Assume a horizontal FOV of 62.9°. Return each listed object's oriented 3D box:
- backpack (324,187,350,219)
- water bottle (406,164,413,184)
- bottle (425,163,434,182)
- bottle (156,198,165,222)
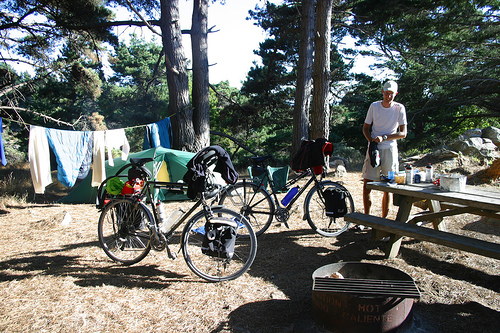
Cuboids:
[{"bbox_3d":[1.934,0.819,9.223,0.658,0.905,0.456,0,-5,-11],"label":"backpack"},{"bbox_3d":[3.303,0.168,8.514,0.126,0.382,0.182,1,5,21],"label":"water bottle"},{"bbox_3d":[3.780,0.128,8.676,0.132,0.390,0.208,1,5,20],"label":"bottle"},{"bbox_3d":[-1.863,0.925,8.507,0.161,0.411,0.237,-2,4,-12],"label":"bottle"}]
